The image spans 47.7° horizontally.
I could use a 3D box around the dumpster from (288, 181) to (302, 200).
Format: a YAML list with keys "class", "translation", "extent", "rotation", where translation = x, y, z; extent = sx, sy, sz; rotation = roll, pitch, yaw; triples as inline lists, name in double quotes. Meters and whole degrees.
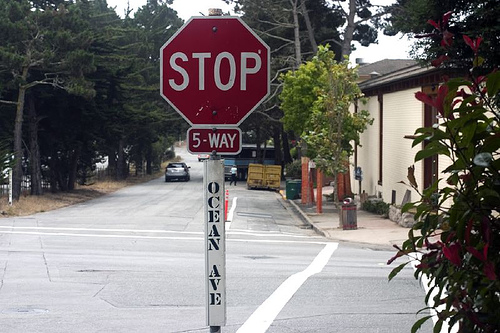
- class: "dumpster"
  translation: [2.960, 1.482, 37.137]
  extent: [0.976, 1.405, 0.978]
  rotation: [3, -4, -40]

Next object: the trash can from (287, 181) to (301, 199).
- class: "trash can"
  translation: [2.811, 1.504, 37.014]
  extent: [0.859, 1.274, 0.906]
  rotation: [1, -5, -10]

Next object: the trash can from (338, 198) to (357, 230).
- class: "trash can"
  translation: [3.760, 1.725, 21.536]
  extent: [0.669, 1.163, 1.102]
  rotation: [0, 1, 11]

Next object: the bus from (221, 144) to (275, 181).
- class: "bus"
  translation: [1.335, -0.538, 62.538]
  extent: [6.770, 3.190, 2.063]
  rotation: [0, 1, 41]
